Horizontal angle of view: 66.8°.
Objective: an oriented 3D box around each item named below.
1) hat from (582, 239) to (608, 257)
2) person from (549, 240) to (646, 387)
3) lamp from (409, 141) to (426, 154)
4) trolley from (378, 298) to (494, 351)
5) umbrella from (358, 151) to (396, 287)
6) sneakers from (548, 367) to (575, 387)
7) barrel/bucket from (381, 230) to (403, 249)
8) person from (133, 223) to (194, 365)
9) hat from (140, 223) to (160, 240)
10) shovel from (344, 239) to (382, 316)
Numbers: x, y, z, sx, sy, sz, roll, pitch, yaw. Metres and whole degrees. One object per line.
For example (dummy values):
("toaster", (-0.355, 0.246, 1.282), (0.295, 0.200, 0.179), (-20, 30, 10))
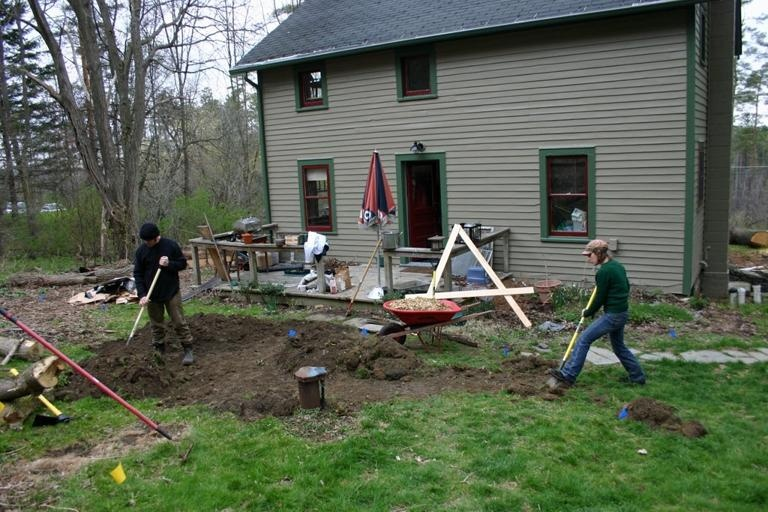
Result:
("hat", (3.432, -0.122, 9.709), (0.597, 0.302, 0.392), (-4, 2, 27))
("person", (3.520, 0.930, 9.494), (1.566, 2.310, 0.538), (-3, 9, -7))
("lamp", (0.874, -2.807, 15.145), (0.382, 0.333, 0.211), (-1, 9, 9))
("trolley", (0.999, 1.198, 10.912), (2.259, 0.778, 0.953), (0, 7, -12))
("umbrella", (-0.166, -1.431, 13.386), (0.830, 1.908, 0.492), (-3, 9, -8))
("sneakers", (2.863, 1.973, 9.412), (0.411, 0.275, 0.213), (-5, 10, -21))
("barrel/bucket", (0.180, -0.335, 12.960), (0.455, 0.357, 0.341), (-2, 3, -14))
("person", (-4.070, 0.673, 10.733), (1.054, 2.555, 0.783), (-2, 9, 3))
("hat", (-4.296, -0.420, 10.603), (0.305, 0.319, 0.347), (-3, 13, -2))
("shovel", (-0.490, 0.575, 14.478), (0.160, 2.066, 0.149), (31, -8, 9))
